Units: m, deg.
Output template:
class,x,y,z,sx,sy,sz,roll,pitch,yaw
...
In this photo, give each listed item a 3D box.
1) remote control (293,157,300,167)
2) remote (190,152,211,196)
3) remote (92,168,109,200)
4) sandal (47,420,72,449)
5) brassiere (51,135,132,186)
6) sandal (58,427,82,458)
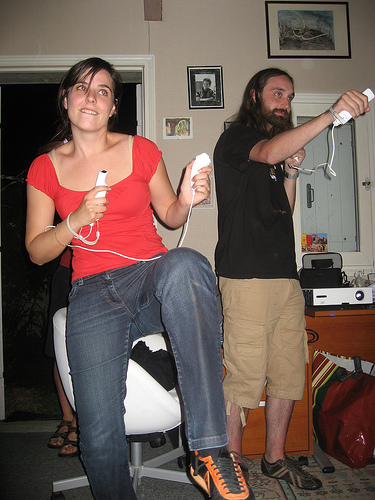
class,x,y,z,sx,sy,sz,roll,pitch,yaw
remote control,0.492,-0.410,1.893,0.024,0.029,0.011,0,10,10
remote,0.035,-0.220,1.198,0.044,0.130,0.032,10,-3,17
remote,-0.244,-0.182,1.164,0.045,0.025,0.127,-15,39,19
sandal,-0.627,0.904,2.027,0.065,0.070,0.184,1,-12,0
brassiere,-0.359,-0.294,1.272,0.198,0.183,0.052,-3,-7,-5
sandal,-0.552,0.888,2.000,0.084,0.090,0.242,11,3,-14
